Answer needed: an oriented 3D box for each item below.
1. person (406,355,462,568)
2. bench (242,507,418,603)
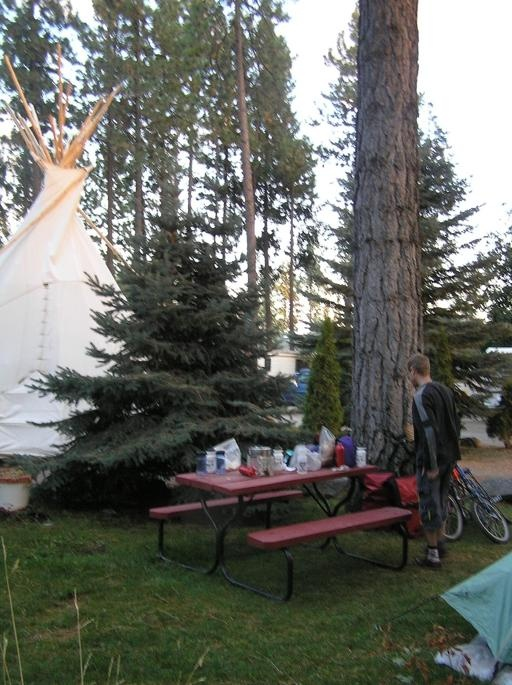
[{"bbox_3d":[1.565,1.010,4.770,0.428,1.888,0.758,0,-7,20],"label":"person"},{"bbox_3d":[0.616,1.631,4.301,1.546,0.423,0.613,2,11,-30],"label":"bench"}]
